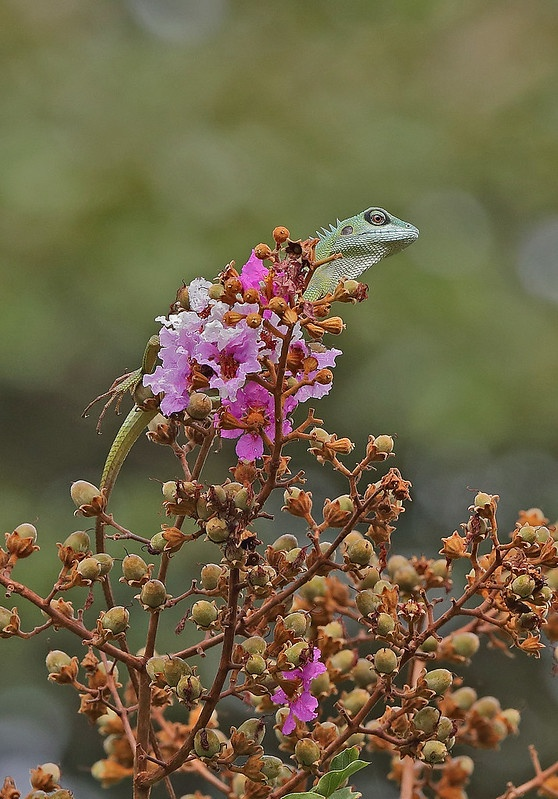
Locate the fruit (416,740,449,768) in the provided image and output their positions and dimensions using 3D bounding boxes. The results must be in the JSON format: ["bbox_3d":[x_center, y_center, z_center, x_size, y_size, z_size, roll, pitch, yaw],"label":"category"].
[{"bbox_3d":[0.399,0.910,3.629,0.085,0.065,0.061,-26,44,33],"label":"fruit"}]

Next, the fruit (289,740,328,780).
[{"bbox_3d":[0.075,0.901,3.542,0.090,0.086,0.085,-20,12,-14],"label":"fruit"}]

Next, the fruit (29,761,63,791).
[{"bbox_3d":[-0.622,0.984,3.686,0.071,0.041,0.076,9,15,9],"label":"fruit"}]

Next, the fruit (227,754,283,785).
[{"bbox_3d":[-0.055,0.939,3.560,0.121,0.069,0.062,3,52,-6],"label":"fruit"}]

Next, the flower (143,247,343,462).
[{"bbox_3d":[-0.141,-0.107,3.619,0.629,0.471,0.205,-5,4,7],"label":"flower"}]

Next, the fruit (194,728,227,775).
[{"bbox_3d":[-0.181,0.878,3.521,0.071,0.128,0.109,-6,14,-7],"label":"fruit"}]

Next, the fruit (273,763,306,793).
[{"bbox_3d":[0.026,1.015,3.729,0.088,0.037,0.097,-22,37,18],"label":"fruit"}]
